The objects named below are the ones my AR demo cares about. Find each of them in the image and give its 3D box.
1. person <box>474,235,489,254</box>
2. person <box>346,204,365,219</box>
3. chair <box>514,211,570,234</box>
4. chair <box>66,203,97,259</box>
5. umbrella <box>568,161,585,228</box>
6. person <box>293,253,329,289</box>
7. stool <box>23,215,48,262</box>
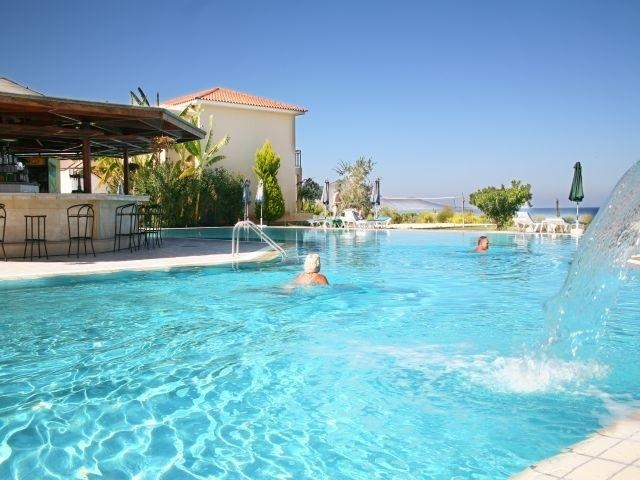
[{"bbox_3d":[5.792,0.181,15.916,0.570,0.649,0.753,-2,7,5],"label":"person"},{"bbox_3d":[2.267,-1.905,31.294,1.871,1.171,1.228,0,3,21],"label":"person"},{"bbox_3d":[11.987,-0.917,23.993,2.637,1.087,1.673,3,6,23],"label":"chair"},{"bbox_3d":[-6.678,-0.281,12.379,0.683,1.428,1.037,-2,6,-28],"label":"chair"},{"bbox_3d":[12.429,-2.186,21.438,0.847,2.991,0.864,-1,5,16],"label":"umbrella"},{"bbox_3d":[-0.219,0.665,9.244,0.819,0.733,0.431,2,5,11],"label":"person"},{"bbox_3d":[-7.528,-0.069,11.712,0.584,1.129,0.910,-3,7,-34],"label":"stool"}]
